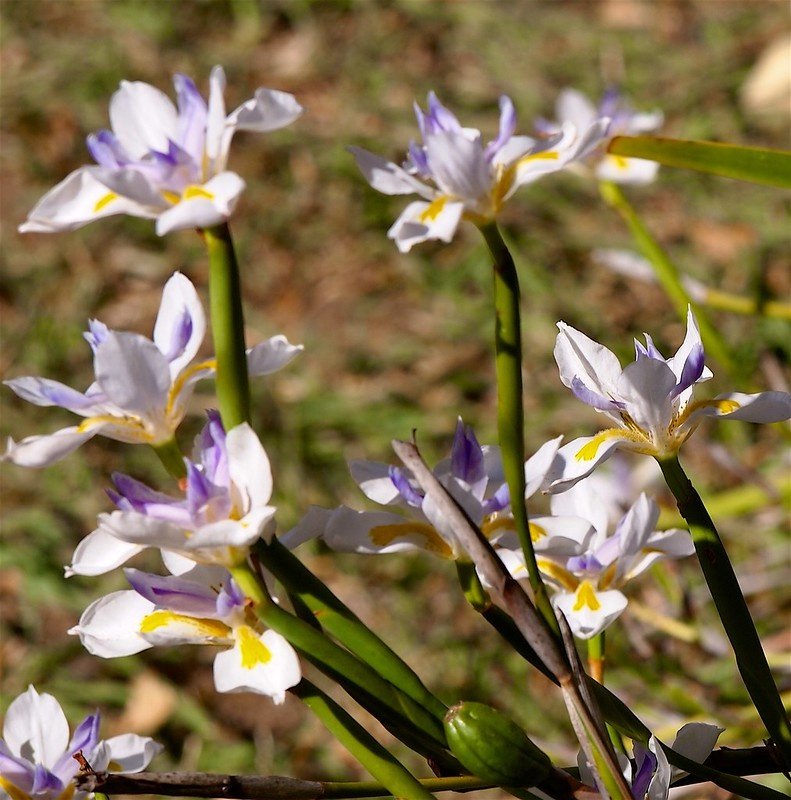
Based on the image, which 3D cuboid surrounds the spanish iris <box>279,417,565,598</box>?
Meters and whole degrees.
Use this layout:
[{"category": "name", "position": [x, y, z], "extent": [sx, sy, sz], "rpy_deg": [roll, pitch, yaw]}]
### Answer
[{"category": "spanish iris", "position": [0.019, 0.078, 0.726], "extent": [0.133, 0.073, 0.141], "rpy_deg": [-29, 21, -10]}]

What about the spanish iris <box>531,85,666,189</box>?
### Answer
[{"category": "spanish iris", "position": [0.310, -0.390, 1.425], "extent": [0.144, 0.067, 0.147], "rpy_deg": [-25, 13, 2]}]

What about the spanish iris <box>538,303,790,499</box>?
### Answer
[{"category": "spanish iris", "position": [0.212, -0.004, 0.795], "extent": [0.164, 0.086, 0.140], "rpy_deg": [-14, 15, -2]}]

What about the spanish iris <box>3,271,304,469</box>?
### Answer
[{"category": "spanish iris", "position": [-0.188, 0.002, 0.740], "extent": [0.173, 0.089, 0.181], "rpy_deg": [-37, 5, -16]}]

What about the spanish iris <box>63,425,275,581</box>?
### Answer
[{"category": "spanish iris", "position": [-0.149, 0.091, 0.703], "extent": [0.130, 0.078, 0.119], "rpy_deg": [-3, 30, 31]}]
